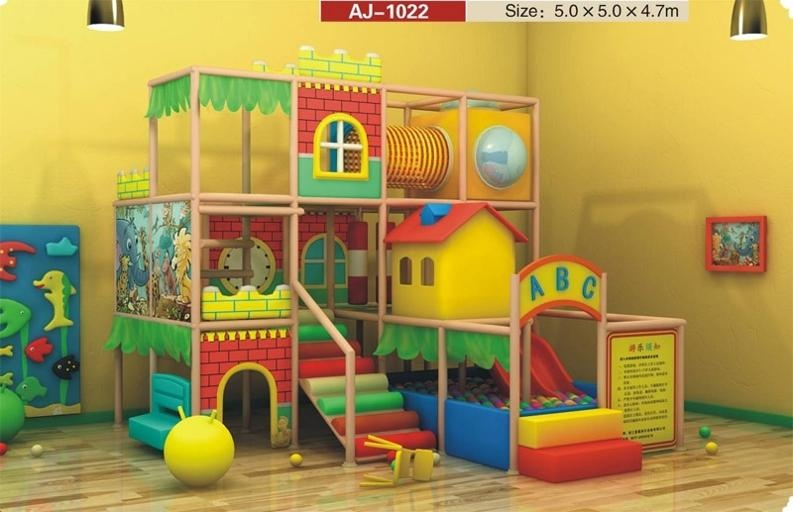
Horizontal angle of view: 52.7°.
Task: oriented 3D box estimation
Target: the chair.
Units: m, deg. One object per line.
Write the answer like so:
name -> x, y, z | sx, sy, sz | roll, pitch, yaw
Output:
chair -> 0.008, 1.691, 6.470 | 0.600, 0.338, 0.376 | 2, -10, 8

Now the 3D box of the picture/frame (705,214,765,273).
picture/frame -> 3.410, -0.131, 7.999 | 0.057, 0.588, 0.589 | 1, 1, -39
